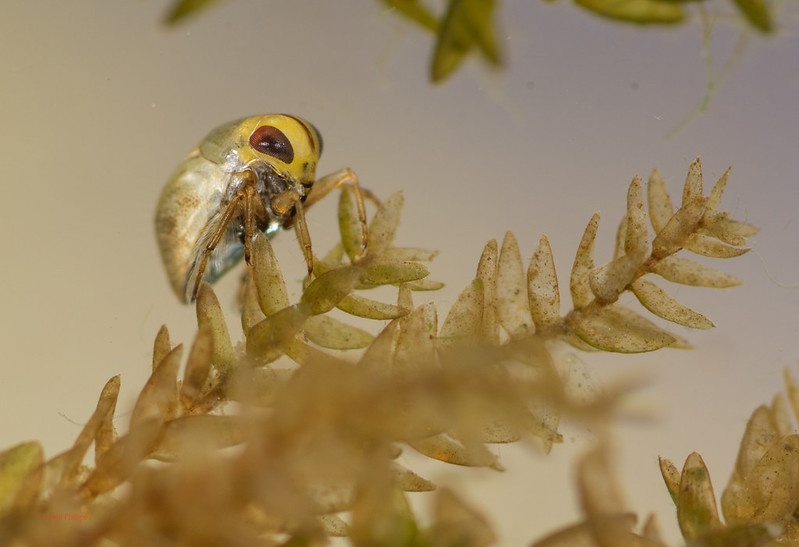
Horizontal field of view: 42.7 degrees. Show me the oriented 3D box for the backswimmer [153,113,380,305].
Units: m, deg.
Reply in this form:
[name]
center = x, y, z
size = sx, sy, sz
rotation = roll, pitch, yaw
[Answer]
[backswimmer]
center = -0.174, -0.091, 1.221
size = 0.261, 0.203, 0.213
rotation = -6, 4, 30
